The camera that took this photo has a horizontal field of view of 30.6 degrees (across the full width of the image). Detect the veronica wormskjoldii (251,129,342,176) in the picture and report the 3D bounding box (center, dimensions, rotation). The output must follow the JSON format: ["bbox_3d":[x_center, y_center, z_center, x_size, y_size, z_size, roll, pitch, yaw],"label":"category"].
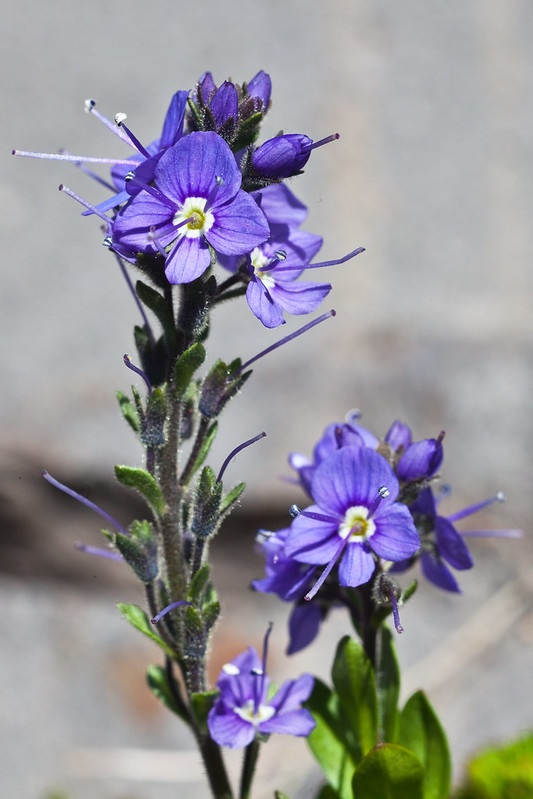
[{"bbox_3d":[0.024,-0.233,0.956,0.089,0.035,0.032,-11,-40,16],"label":"veronica wormskjoldii"}]

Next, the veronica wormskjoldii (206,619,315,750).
[{"bbox_3d":[-0.008,0.306,1.017,0.101,0.130,0.079,5,-42,-9],"label":"veronica wormskjoldii"}]

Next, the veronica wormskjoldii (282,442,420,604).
[{"bbox_3d":[0.075,0.127,0.973,0.049,0.148,0.172,39,-37,-17],"label":"veronica wormskjoldii"}]

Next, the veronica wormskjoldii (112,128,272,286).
[{"bbox_3d":[-0.070,-0.178,0.933,0.078,0.140,0.192,-10,5,-36],"label":"veronica wormskjoldii"}]
